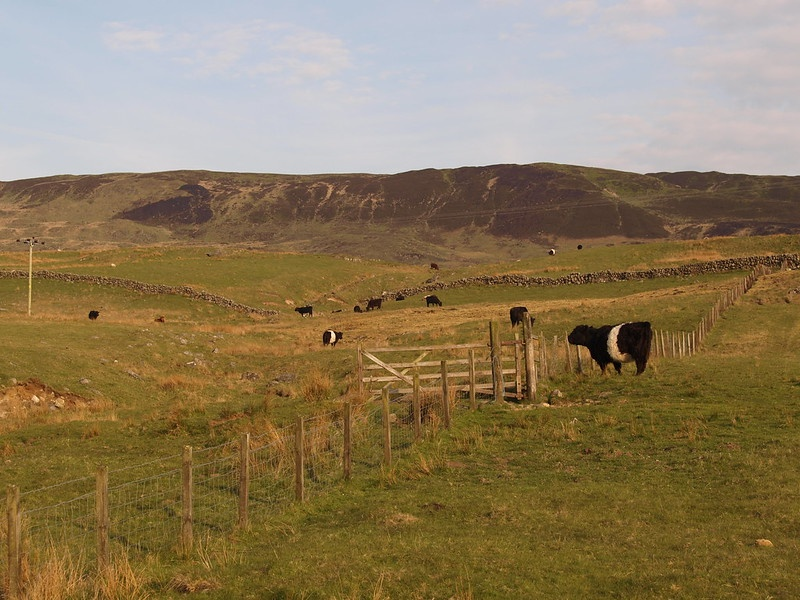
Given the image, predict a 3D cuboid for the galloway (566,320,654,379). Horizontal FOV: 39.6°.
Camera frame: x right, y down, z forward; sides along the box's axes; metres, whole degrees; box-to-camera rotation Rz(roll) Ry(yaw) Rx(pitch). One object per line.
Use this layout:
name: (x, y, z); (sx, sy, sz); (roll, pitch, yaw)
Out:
galloway: (9.142, 1.990, 47.544); (1.480, 2.222, 3.590); (-2, 6, -35)
